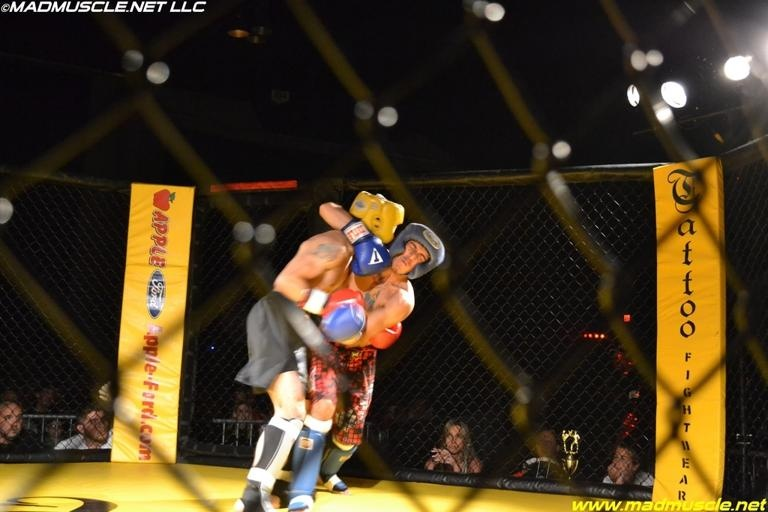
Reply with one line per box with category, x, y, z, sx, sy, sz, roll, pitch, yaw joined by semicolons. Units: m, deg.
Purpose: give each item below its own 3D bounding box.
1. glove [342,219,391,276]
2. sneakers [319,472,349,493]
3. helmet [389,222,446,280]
glove;-0.142;-0.075;5.903;0.380;0.299;0.166;57;-28;12
sneakers;-0.389;1.712;6.177;0.099;0.111;0.266;30;-18;-10
helmet;0.254;-0.053;6.181;0.361;0.372;0.423;53;0;-3
